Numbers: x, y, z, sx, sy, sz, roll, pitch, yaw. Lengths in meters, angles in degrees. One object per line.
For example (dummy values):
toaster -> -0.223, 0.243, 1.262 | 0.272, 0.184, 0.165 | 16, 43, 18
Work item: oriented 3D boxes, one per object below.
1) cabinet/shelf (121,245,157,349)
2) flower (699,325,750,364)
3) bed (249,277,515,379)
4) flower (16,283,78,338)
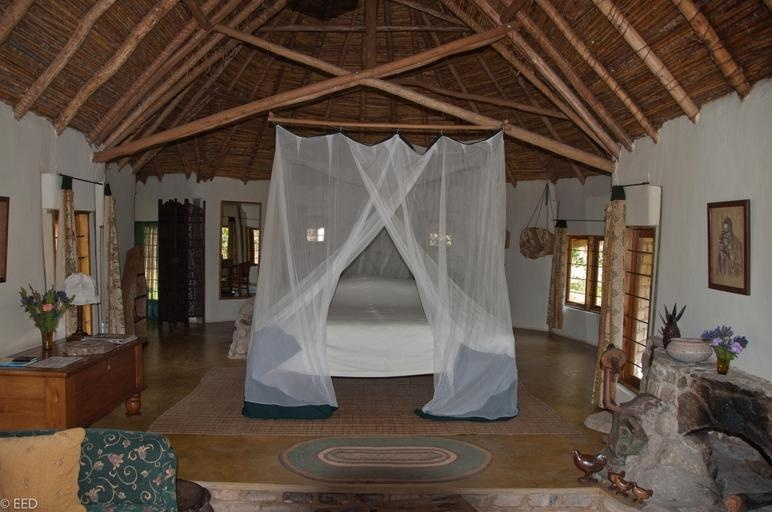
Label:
cabinet/shelf -> -4.335, 0.738, 8.341 | 0.356, 1.816, 0.756 | -4, 10, -27
flower -> 3.214, 0.821, 4.664 | 0.339, 0.395, 0.335 | 3, -1, -6
bed -> -0.293, 0.998, 7.097 | 1.735, 0.958, 2.286 | 0, 9, -4
flower -> -3.949, 0.594, 5.646 | 0.613, 0.662, 0.599 | -11, -13, 13
